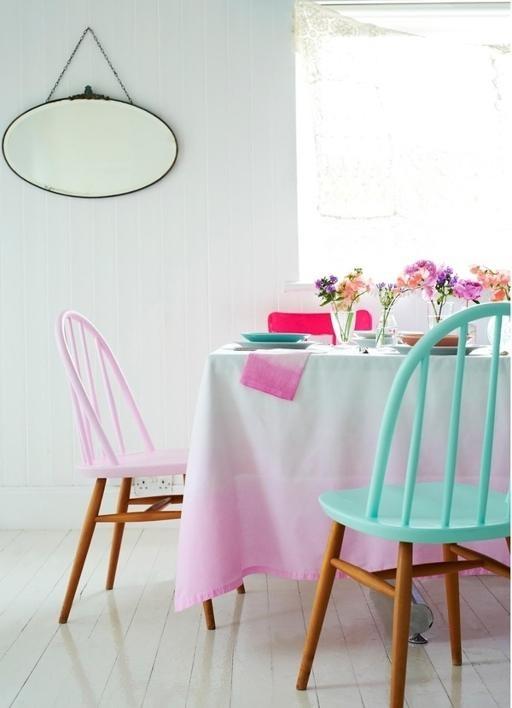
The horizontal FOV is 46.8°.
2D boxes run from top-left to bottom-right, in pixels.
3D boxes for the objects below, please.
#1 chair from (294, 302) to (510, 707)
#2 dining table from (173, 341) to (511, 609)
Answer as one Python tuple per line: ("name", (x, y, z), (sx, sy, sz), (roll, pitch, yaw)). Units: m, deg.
("chair", (0.295, 0.311, 1.186), (0.445, 0.749, 0.447), (-1, 0, 13))
("dining table", (0.143, 0.112, 1.493), (0.765, 0.566, 0.562), (0, -1, -2))
